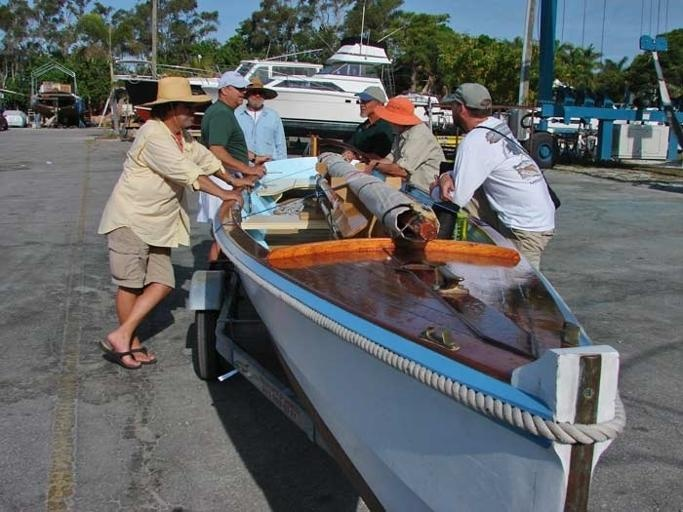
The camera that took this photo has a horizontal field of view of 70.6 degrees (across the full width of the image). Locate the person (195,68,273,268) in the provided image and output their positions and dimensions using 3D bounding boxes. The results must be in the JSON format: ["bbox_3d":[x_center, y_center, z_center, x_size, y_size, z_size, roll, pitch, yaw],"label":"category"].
[{"bbox_3d":[-1.149,-0.901,5.281,0.766,2.020,0.789,2,17,-9],"label":"person"}]

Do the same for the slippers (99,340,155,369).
[{"bbox_3d":[-1.662,0.757,3.710,0.398,0.105,0.211,18,9,13],"label":"slippers"}]

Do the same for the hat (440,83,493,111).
[{"bbox_3d":[0.857,-1.114,3.465,0.373,0.186,0.247,17,31,34],"label":"hat"}]

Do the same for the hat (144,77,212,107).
[{"bbox_3d":[-1.248,-1.162,3.578,0.400,0.134,0.339,12,24,40],"label":"hat"}]

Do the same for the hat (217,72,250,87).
[{"bbox_3d":[-1.121,-1.823,5.019,0.286,0.131,0.203,-3,20,-6],"label":"hat"}]

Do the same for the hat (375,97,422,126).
[{"bbox_3d":[0.537,-1.380,4.683,0.357,0.132,0.341,1,30,-6],"label":"hat"}]
